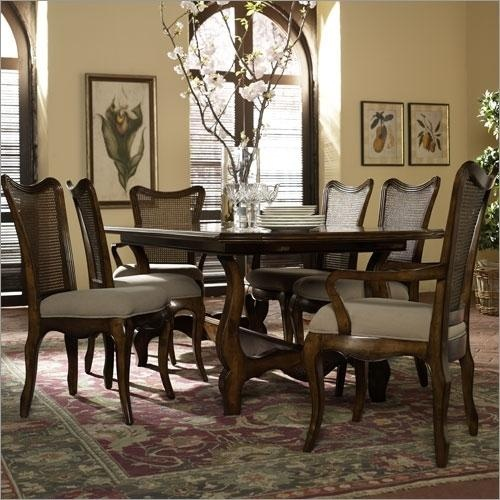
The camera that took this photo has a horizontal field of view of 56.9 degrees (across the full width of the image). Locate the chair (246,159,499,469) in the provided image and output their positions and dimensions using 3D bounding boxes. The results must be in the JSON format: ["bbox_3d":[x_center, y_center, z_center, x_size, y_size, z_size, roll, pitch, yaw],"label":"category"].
[{"bbox_3d":[0.598,0.184,2.068,0.867,1.446,0.800,2,1,27],"label":"chair"}]

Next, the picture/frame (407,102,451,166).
[{"bbox_3d":[2.226,-1.445,5.754,0.763,1.103,0.047,-1,3,-4],"label":"picture/frame"}]

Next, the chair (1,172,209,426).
[{"bbox_3d":[-0.726,0.145,2.572,0.961,1.523,0.824,0,2,18],"label":"chair"}]

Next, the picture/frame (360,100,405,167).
[{"bbox_3d":[1.605,-1.447,5.625,0.783,1.085,0.046,0,0,-19],"label":"picture/frame"}]

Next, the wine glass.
[{"bbox_3d":[-0.003,-0.163,2.151,0.241,0.247,0.232,1,-4,-3],"label":"wine glass"}]
